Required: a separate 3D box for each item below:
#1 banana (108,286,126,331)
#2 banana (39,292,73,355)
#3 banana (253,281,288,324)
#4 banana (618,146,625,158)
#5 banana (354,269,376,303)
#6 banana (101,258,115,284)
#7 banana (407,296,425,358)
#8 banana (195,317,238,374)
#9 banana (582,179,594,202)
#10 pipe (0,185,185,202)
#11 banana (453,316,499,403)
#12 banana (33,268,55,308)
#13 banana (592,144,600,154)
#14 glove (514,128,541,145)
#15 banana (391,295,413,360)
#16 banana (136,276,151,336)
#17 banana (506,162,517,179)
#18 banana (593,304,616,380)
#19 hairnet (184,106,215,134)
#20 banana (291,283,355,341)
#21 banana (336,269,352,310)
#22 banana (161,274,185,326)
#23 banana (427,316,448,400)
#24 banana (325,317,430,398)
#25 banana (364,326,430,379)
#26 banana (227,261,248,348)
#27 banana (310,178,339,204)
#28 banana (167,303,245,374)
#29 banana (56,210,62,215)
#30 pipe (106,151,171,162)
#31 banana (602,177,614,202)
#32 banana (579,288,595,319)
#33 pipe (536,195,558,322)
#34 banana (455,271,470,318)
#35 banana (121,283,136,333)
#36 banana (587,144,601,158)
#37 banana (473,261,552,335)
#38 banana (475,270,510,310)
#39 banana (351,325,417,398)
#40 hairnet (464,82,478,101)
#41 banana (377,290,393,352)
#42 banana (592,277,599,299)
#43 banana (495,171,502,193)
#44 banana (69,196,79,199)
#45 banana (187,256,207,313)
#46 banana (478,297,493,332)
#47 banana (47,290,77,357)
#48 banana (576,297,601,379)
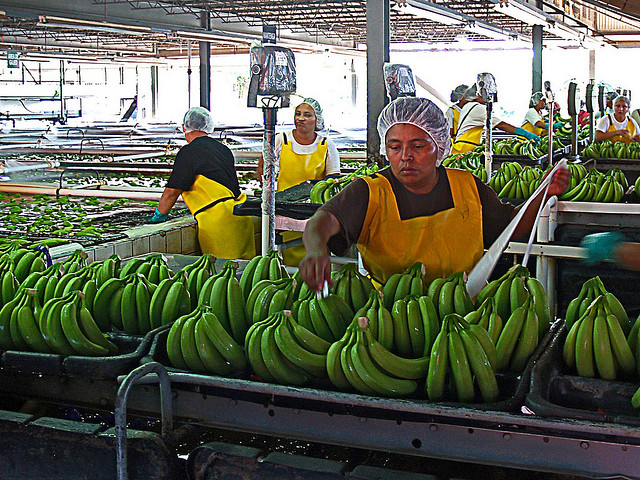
[{"bbox_3d":[-0.713,0.241,1.748,0.041,0.135,0.104,0,-1,4],"label":"banana"},{"bbox_3d":[-0.813,0.257,1.591,0.048,0.166,0.128,-4,6,4],"label":"banana"},{"bbox_3d":[-0.163,0.187,1.649,0.065,0.171,0.044,35,-26,-18],"label":"banana"},{"bbox_3d":[4.045,-1.189,6.716,0.040,0.184,0.063,24,-20,5],"label":"banana"},{"bbox_3d":[0.154,0.150,1.674,0.050,0.135,0.039,-27,-19,-8],"label":"banana"},{"bbox_3d":[-0.818,0.122,1.931,0.024,0.086,0.053,11,-22,-1],"label":"banana"},{"bbox_3d":[0.277,0.252,1.470,0.036,0.180,0.059,-6,-10,-7],"label":"banana"},{"bbox_3d":[-0.309,0.317,1.458,0.115,0.153,0.053,3,8,10],"label":"banana"},{"bbox_3d":[2.375,-0.440,4.431,0.045,0.202,0.077,11,2,-10],"label":"banana"},{"bbox_3d":[-2.674,-0.545,5.691,2.290,0.080,0.293,4,10,13],"label":"pipe"},{"bbox_3d":[0.421,0.331,1.350,0.060,0.264,0.090,-15,-7,-43],"label":"banana"},{"bbox_3d":[-0.980,0.174,1.780,0.039,0.117,0.029,-23,-44,40],"label":"banana"},{"bbox_3d":[3.873,-1.314,7.055,0.038,0.204,0.055,-33,-40,8],"label":"banana"},{"bbox_3d":[3.043,-1.581,7.369,0.338,0.121,0.262,27,18,15],"label":"glove"},{"bbox_3d":[0.235,0.256,1.506,0.073,0.199,0.045,3,-16,-29],"label":"banana"},{"bbox_3d":[-0.612,0.233,1.735,0.060,0.179,0.046,2,-3,-24],"label":"banana"},{"bbox_3d":[1.960,-0.715,5.097,0.100,0.152,0.046,-12,-2,-26],"label":"banana"},{"bbox_3d":[0.808,0.288,1.437,0.039,0.208,0.072,-11,-30,20],"label":"banana"},{"bbox_3d":[-1.162,-1.165,4.801,0.275,0.266,0.315,-1,10,-15],"label":"hairnet"},{"bbox_3d":[0.019,0.225,1.533,0.138,0.195,0.073,-14,-31,-12],"label":"banana"},{"bbox_3d":[0.078,0.164,1.655,0.041,0.127,0.034,-7,-22,24],"label":"banana"},{"bbox_3d":[-0.498,0.202,1.753,0.046,0.180,0.066,4,-23,28],"label":"banana"},{"bbox_3d":[0.314,0.308,1.302,0.039,0.202,0.049,-4,-24,29],"label":"banana"},{"bbox_3d":[0.153,0.322,1.338,0.271,0.227,0.106,3,9,10],"label":"banana"},{"bbox_3d":[0.230,0.319,1.363,0.224,0.147,0.071,9,-12,-21],"label":"banana"},{"bbox_3d":[-0.274,0.213,1.660,0.053,0.278,0.095,-6,-9,24],"label":"banana"},{"bbox_3d":[0.036,-0.419,4.310,0.114,0.299,0.137,40,-48,-18],"label":"banana"},{"bbox_3d":[-0.341,0.296,1.534,0.138,0.162,0.242,19,-7,-1],"label":"banana"},{"bbox_3d":[-2.374,-0.257,4.556,0.029,0.011,0.039,-20,22,6],"label":"banana"},{"bbox_3d":[-3.635,-1.704,9.938,0.620,0.173,1.225,8,12,34],"label":"pipe"},{"bbox_3d":[2.506,-0.415,4.326,0.062,0.265,0.092,9,-18,24],"label":"banana"},{"bbox_3d":[0.858,0.191,1.615,0.037,0.047,0.178,-18,23,37],"label":"banana"},{"bbox_3d":[1.476,0.112,3.248,0.091,0.581,0.785,1,-39,17],"label":"pipe"},{"bbox_3d":[0.449,0.173,1.592,0.031,0.122,0.041,-27,-51,34],"label":"banana"},{"bbox_3d":[-0.660,0.238,1.728,0.057,0.173,0.042,-2,1,-23],"label":"banana"},{"bbox_3d":[3.775,-1.227,6.853,0.155,0.157,0.402,4,10,17],"label":"banana"},{"bbox_3d":[0.653,0.174,1.652,0.155,0.149,0.281,8,16,15],"label":"banana"},{"bbox_3d":[0.594,0.175,1.728,0.034,0.121,0.047,17,-29,50],"label":"banana"},{"bbox_3d":[0.166,0.328,1.340,0.192,0.128,0.062,38,26,7],"label":"banana"},{"bbox_3d":[2.212,-2.189,7.312,0.166,0.258,0.286,3,9,9],"label":"hairnet"},{"bbox_3d":[0.177,0.239,1.428,0.041,0.149,0.050,-7,-11,7],"label":"banana"},{"bbox_3d":[0.905,0.155,1.642,0.015,0.064,0.016,10,-17,-17],"label":"banana"},{"bbox_3d":[1.739,-0.567,4.876,0.048,0.165,0.049,8,-13,-10],"label":"banana"},{"bbox_3d":[-2.755,-0.485,5.570,0.085,0.026,0.030,3,9,10],"label":"banana"},{"bbox_3d":[-0.457,0.160,1.843,0.068,0.200,0.045,22,-23,-23],"label":"banana"},{"bbox_3d":[0.507,0.221,1.521,0.024,0.044,0.124,-16,32,47],"label":"banana"},{"bbox_3d":[-0.802,0.286,1.567,0.038,0.151,0.114,0,1,3],"label":"banana"},{"bbox_3d":[0.778,0.293,1.448,0.062,0.194,0.051,6,-17,17],"label":"banana"}]
